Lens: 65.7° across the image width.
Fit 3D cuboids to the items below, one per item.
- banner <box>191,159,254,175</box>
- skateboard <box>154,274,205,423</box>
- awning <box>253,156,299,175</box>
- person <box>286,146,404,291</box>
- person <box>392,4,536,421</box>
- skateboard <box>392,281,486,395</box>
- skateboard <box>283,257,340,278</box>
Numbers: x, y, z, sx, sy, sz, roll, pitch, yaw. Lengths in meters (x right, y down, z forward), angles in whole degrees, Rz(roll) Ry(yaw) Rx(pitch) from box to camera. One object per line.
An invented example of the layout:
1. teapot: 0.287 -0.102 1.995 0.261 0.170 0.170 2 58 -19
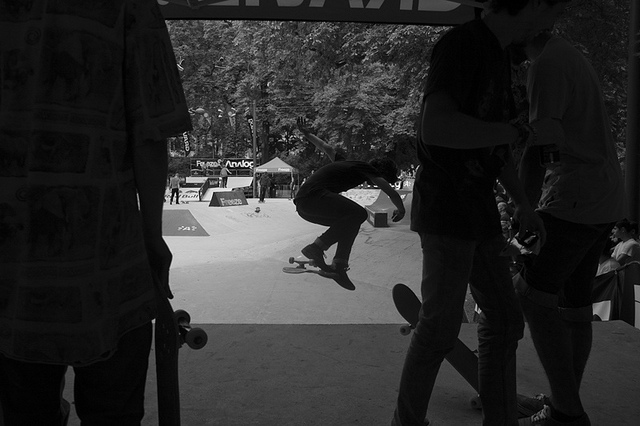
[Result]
1. banner: -9.141 -4.337 46.609 5.467 1.393 2.825 -1 7 -10
2. skateboard: -0.552 0.510 1.881 0.174 0.664 0.103 5 9 31
3. awning: -2.257 -2.479 27.263 1.595 0.750 1.591 1 3 15
4. person: 0.390 -0.002 6.217 1.429 1.912 0.886 15 -24 -11
5. person: 0.792 -0.025 2.620 0.630 2.301 1.163 3 7 23
6. skateboard: 0.640 0.666 2.691 0.131 0.888 0.233 -40 -10 22
7. skateboard: -0.159 0.824 7.320 0.562 0.150 0.416 7 1 13
